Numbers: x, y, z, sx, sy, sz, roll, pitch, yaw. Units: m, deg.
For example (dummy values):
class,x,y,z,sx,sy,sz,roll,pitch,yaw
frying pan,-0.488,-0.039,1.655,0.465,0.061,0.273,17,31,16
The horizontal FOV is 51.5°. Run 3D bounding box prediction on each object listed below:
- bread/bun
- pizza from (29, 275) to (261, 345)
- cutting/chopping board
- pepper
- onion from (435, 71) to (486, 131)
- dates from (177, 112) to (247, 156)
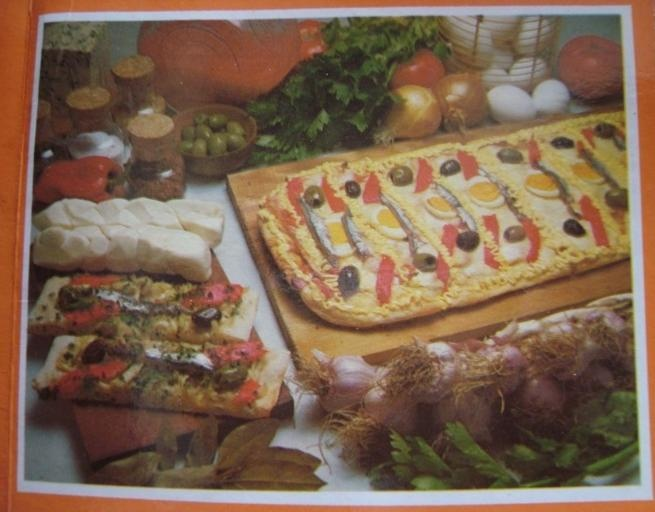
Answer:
class,x,y,z,sx,sy,sz,roll,pitch,yaw
bread/bun,-0.632,-0.055,2.167,0.597,0.282,0.126,-3,14,6
pizza,-0.566,0.159,2.051,0.652,0.212,0.139,2,-18,3
cutting/chopping board,0.423,-0.002,2.125,1.515,0.742,0.150,-13,-10,-3
pepper,-0.800,-0.245,2.226,0.251,0.145,0.091,-5,-2,13
onion,0.437,-0.500,2.204,0.160,0.170,0.095,13,38,25
dates,-0.378,-0.389,2.196,0.166,0.060,0.156,-31,66,-18
